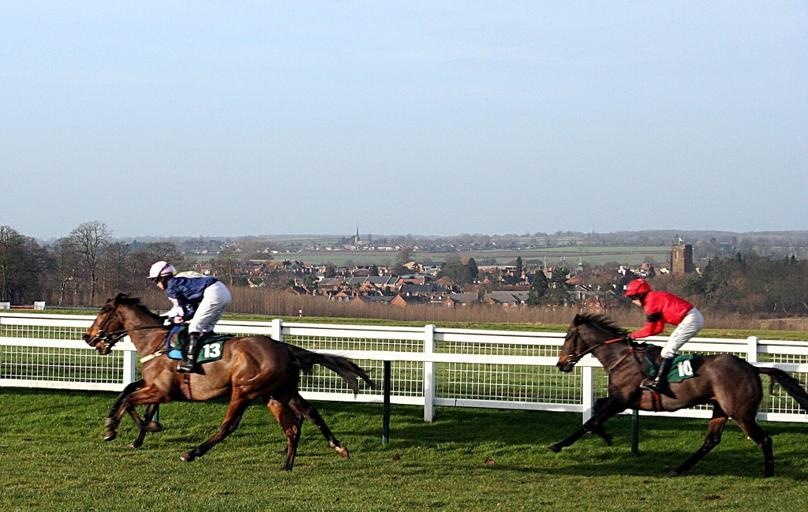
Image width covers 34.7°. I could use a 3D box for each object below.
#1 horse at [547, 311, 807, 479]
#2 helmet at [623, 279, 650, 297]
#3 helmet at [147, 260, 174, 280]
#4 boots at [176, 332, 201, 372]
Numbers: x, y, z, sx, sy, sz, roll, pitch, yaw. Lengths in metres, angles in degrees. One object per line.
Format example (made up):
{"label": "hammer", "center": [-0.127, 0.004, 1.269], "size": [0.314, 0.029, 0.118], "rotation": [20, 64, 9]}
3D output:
{"label": "horse", "center": [4.297, 2.239, 20.967], "size": [3.692, 2.427, 0.973], "rotation": [2, 10, 5]}
{"label": "helmet", "center": [3.771, 0.525, 21.062], "size": [0.398, 0.183, 0.269], "rotation": [0, -1, -16]}
{"label": "helmet", "center": [-3.993, 0.229, 21.265], "size": [0.401, 0.192, 0.270], "rotation": [2, -1, -12]}
{"label": "boots", "center": [-3.419, 1.535, 20.683], "size": [0.369, 0.598, 0.215], "rotation": [-1, 10, -10]}
